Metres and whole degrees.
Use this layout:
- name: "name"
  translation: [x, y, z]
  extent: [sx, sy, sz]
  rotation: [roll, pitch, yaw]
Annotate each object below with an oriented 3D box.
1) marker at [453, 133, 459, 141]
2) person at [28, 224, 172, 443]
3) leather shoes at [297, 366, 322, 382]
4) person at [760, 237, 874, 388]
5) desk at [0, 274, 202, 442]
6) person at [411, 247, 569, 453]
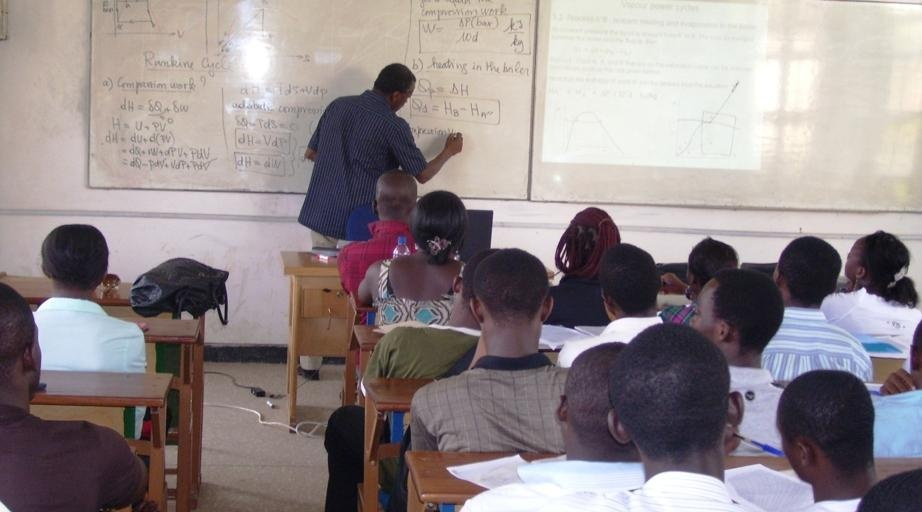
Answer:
- name: "marker"
  translation: [-0.043, -0.914, 6.390]
  extent: [0.046, 0.042, 0.080]
  rotation: [0, 14, 16]
- name: "person"
  translation: [-1.809, 0.401, 4.350]
  extent: [0.650, 1.206, 0.668]
  rotation: [4, 23, 11]
- name: "leather shoes"
  translation: [-1.144, 0.881, 6.302]
  extent: [0.172, 0.096, 0.144]
  rotation: [1, 0, 4]
- name: "person"
  translation: [1.836, 0.282, 4.345]
  extent: [0.376, 0.629, 0.729]
  rotation: [-23, 12, -26]
- name: "desk"
  translation: [-1.707, 0.511, 3.998]
  extent: [0.890, 0.755, 0.553]
  rotation: [3, 28, -7]
- name: "person"
  translation: [0.258, 0.461, 3.774]
  extent: [1.024, 0.896, 0.589]
  rotation: [-4, -2, 22]
